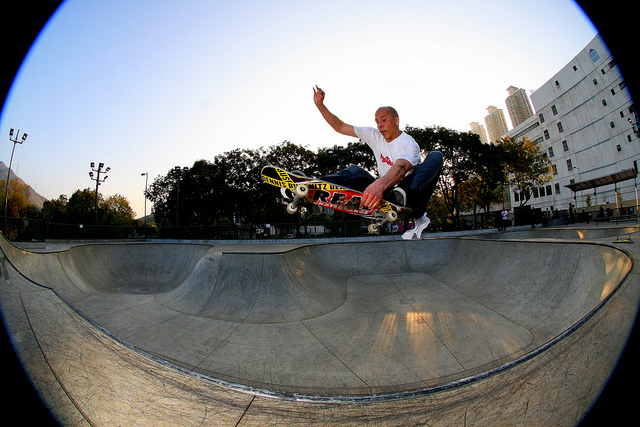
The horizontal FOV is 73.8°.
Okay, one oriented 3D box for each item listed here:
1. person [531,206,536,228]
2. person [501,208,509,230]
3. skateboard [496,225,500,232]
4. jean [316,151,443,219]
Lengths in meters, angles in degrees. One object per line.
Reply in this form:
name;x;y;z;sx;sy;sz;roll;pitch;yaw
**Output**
person;9.659;0.183;19.380;0.203;0.213;0.908;-10;-31;21
person;9.801;0.341;22.764;0.309;1.035;0.812;0;5;25
skateboard;9.687;0.813;23.250;0.128;0.213;0.604;13;12;3
jean;1.182;-0.458;6.218;1.321;0.551;1.196;28;-11;-39
